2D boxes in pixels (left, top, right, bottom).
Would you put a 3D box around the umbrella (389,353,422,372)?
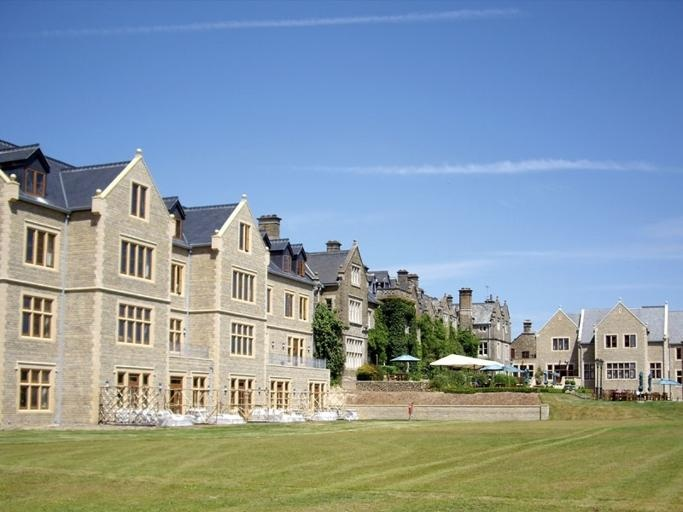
[{"bbox_3d":[5.602,8.948,93.330,2.181,1.326,2.113,8,-12,-33],"label":"umbrella"}]
